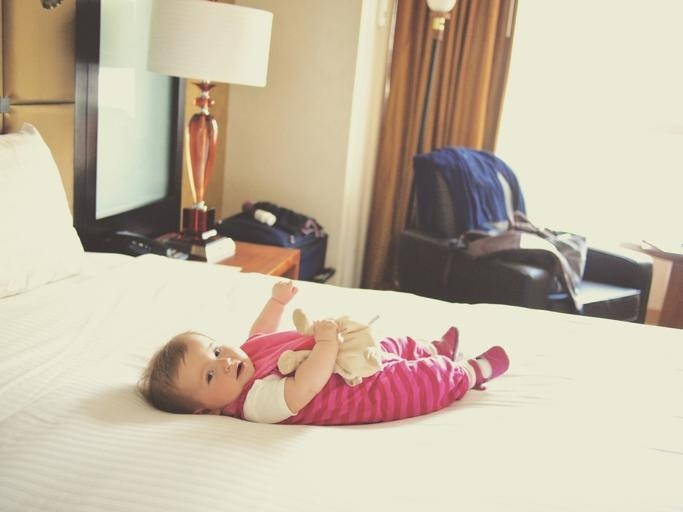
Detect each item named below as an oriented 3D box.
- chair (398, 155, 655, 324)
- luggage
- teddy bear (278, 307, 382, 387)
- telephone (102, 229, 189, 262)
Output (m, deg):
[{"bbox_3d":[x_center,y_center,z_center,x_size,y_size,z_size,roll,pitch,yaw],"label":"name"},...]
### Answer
[{"bbox_3d":[0.966,-0.118,2.888,0.927,1.077,0.993,14,22,39],"label":"chair"},{"bbox_3d":[-0.380,-0.129,3.094,0.443,0.205,0.457,19,29,21],"label":"luggage"},{"bbox_3d":[-0.016,0.223,1.362,0.188,0.082,0.178,5,42,8],"label":"teddy bear"},{"bbox_3d":[-0.827,-0.051,2.251,0.259,0.085,0.149,17,23,10],"label":"telephone"}]
